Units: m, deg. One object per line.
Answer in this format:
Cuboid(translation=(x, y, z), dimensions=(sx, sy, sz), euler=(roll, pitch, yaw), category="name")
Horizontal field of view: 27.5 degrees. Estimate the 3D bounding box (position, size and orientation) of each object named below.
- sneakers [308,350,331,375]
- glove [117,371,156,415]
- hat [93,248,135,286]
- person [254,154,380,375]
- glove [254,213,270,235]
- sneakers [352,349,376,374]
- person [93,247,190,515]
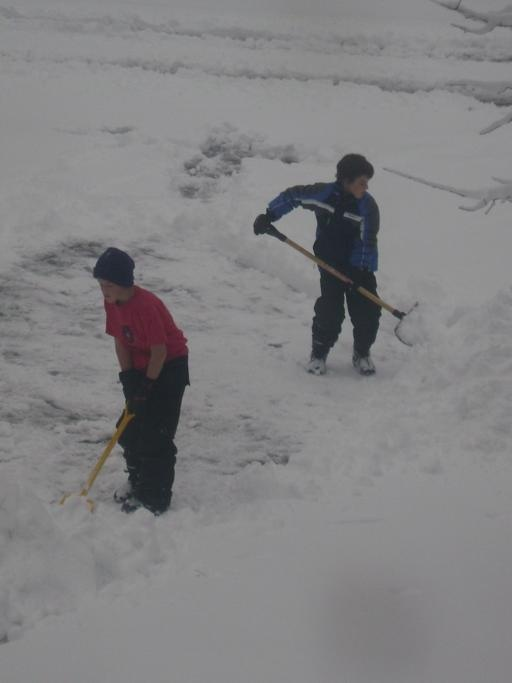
Cuboid(translation=(0.400, 0.147, 7.025), dimensions=(0.099, 0.179, 0.173), euler=(8, 68, 7), category="sneakers")
Cuboid(translation=(-0.662, 0.281, 5.644), dimensions=(0.096, 0.237, 0.181), euler=(3, 41, -37), category="glove")
Cuboid(translation=(-0.752, -0.381, 5.489), dimensions=(0.201, 0.189, 0.199), euler=(-5, 24, -8), category="hat")
Cuboid(translation=(0.459, -0.495, 6.914), dimensions=(0.713, 1.506, 0.388), euler=(1, 24, 6), category="person")
Cuboid(translation=(0.023, -0.768, 6.861), dimensions=(0.103, 0.128, 0.039), euler=(5, 2, -8), category="glove")
Cuboid(translation=(0.726, 0.141, 7.160), dimensions=(0.096, 0.073, 0.179), euler=(-15, 25, 1), category="sneakers")
Cuboid(translation=(-0.594, 0.228, 5.670), dimensions=(0.458, 1.456, 0.372), euler=(-4, 24, -6), category="person")
